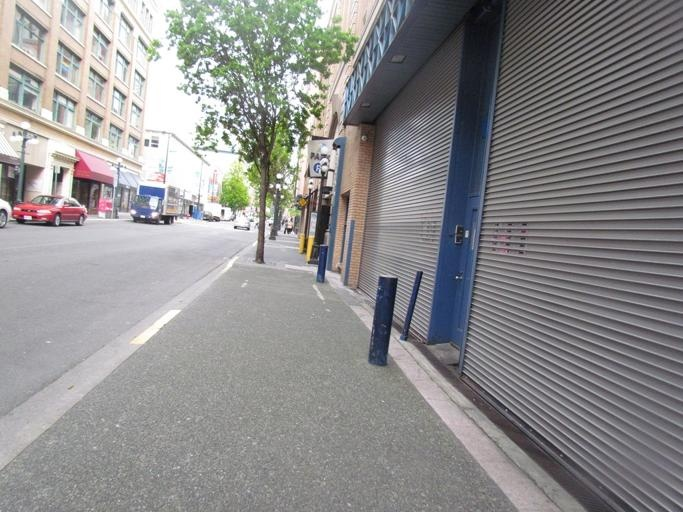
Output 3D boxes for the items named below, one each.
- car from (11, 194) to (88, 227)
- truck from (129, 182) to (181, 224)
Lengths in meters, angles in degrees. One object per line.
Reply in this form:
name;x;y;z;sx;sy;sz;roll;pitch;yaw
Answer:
car;-16.203;-2.520;23.740;1.563;1.601;3.471;6;5;5
truck;-18.226;-5.179;41.943;2.622;4.079;5.545;5;6;-3
